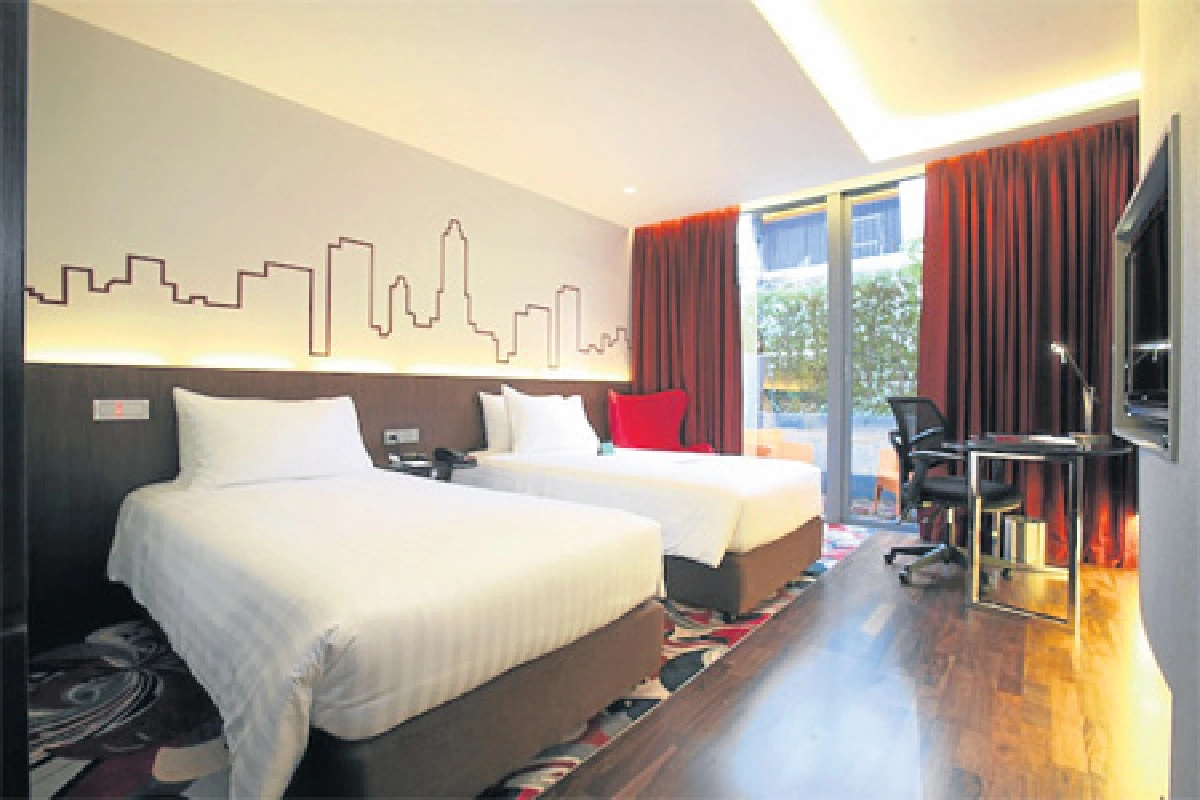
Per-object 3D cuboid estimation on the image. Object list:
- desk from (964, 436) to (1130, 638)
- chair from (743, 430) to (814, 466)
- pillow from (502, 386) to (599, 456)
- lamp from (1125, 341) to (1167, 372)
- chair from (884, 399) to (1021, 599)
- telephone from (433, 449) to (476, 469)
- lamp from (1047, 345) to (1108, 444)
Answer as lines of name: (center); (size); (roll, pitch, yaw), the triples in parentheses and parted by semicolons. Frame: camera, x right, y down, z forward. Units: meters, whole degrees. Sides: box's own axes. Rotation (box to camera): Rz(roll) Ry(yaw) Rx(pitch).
desk: (2.798, 0.813, 4.781); (0.783, 1.067, 1.067); (2, -2, -27)
chair: (1.599, 0.421, 6.836); (0.335, 0.497, 0.398); (1, -2, -20)
pillow: (-0.424, 0.165, 5.918); (0.588, 0.584, 0.169); (8, -29, -43)
lamp: (2.967, -0.250, 4.087); (0.094, 0.172, 0.419); (-1, 0, 17)
chair: (2.390, 0.586, 5.271); (0.836, 1.201, 0.911); (-1, 3, -11)
telephone: (-1.040, 0.424, 5.401); (0.167, 0.080, 0.228); (2, -4, -42)
lamp: (3.185, -0.076, 5.128); (0.295, 0.671, 0.855); (-1, 0, 30)
